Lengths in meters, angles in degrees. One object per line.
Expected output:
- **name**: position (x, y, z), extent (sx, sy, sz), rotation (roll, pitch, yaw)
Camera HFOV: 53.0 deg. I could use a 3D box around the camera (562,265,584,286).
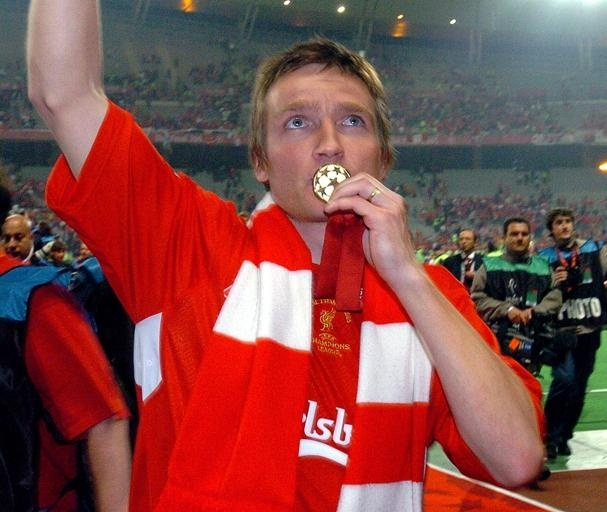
- **camera**: position (2.620, 0.210, 5.912), extent (0.226, 0.190, 0.071), rotation (-2, 1, -20)
